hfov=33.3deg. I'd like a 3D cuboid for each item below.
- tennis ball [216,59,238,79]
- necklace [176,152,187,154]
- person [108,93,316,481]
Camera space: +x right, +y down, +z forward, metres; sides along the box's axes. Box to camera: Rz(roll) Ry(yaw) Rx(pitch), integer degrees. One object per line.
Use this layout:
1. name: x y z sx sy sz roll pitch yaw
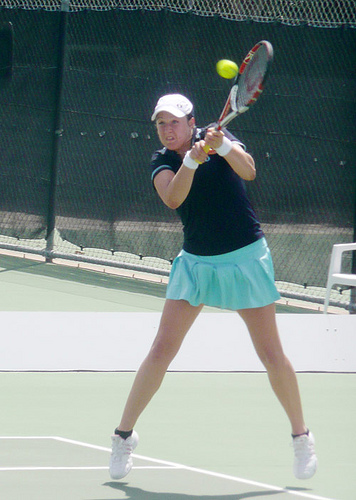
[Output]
1. tennis ball: 0.236 -0.805 2.709 0.110 0.088 0.094 13 20 38
2. necklace: 0.021 -0.365 2.263 0.036 0.007 0.023 4 8 10
3. person: 0.081 0.126 2.125 0.793 1.399 0.679 -3 4 6
